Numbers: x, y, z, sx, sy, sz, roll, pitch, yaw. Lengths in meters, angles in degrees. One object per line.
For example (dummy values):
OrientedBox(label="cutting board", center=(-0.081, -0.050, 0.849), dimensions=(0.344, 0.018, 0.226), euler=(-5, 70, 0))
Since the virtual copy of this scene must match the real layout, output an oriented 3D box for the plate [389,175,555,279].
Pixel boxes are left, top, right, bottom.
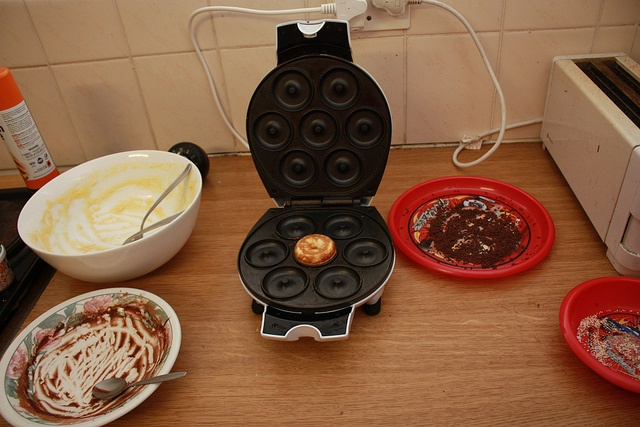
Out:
OrientedBox(label="plate", center=(0.426, 0.034, 1.502), dimensions=(0.456, 0.059, 0.379), euler=(-7, 44, -3))
